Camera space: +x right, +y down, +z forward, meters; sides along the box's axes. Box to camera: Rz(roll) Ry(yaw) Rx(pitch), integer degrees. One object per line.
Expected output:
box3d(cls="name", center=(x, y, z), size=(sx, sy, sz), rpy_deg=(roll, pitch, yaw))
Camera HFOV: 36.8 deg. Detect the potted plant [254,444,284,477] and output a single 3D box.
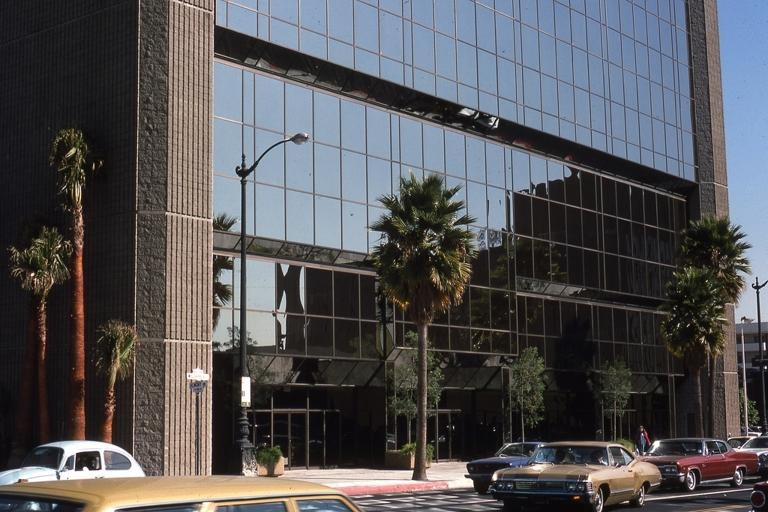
box3d(cls="potted plant", center=(-6.221, 10.702, 61.042), size=(1.265, 1.653, 1.490), rpy_deg=(-8, -13, 40))
